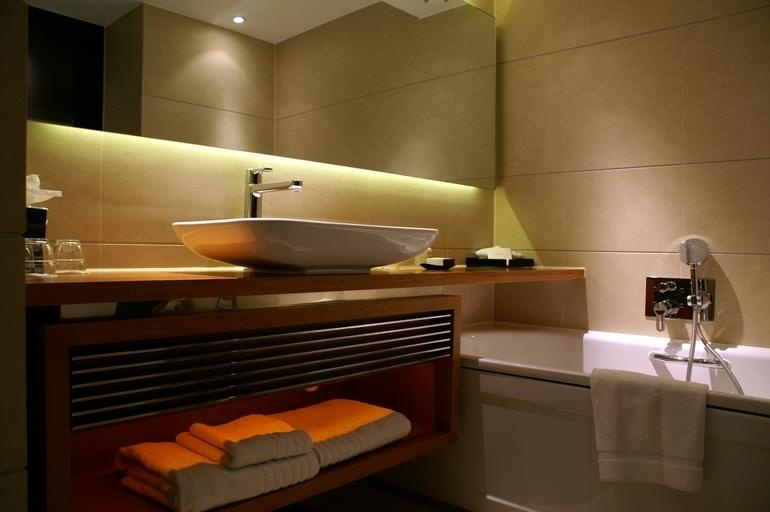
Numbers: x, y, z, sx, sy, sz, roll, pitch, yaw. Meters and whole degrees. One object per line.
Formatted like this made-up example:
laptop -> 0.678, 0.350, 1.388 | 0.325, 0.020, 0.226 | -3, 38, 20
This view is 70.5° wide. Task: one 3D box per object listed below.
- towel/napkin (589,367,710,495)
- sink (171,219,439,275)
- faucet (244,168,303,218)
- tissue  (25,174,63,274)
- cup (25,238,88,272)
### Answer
towel/napkin -> 0.975, 0.662, 2.021 | 0.460, 0.473, 0.155 | 3, 0, 28
sink -> -0.265, -0.052, 1.994 | 0.959, 0.172, 0.368 | -1, 6, -19
faucet -> -0.469, -0.257, 2.216 | 0.190, 0.202, 0.584 | 0, 6, -15
tissue  -> -1.143, -0.115, 1.835 | 0.104, 0.320, 0.391 | -2, 6, -30
cup -> -1.072, 0.004, 1.771 | 0.125, 0.078, 0.127 | 0, -1, 0
